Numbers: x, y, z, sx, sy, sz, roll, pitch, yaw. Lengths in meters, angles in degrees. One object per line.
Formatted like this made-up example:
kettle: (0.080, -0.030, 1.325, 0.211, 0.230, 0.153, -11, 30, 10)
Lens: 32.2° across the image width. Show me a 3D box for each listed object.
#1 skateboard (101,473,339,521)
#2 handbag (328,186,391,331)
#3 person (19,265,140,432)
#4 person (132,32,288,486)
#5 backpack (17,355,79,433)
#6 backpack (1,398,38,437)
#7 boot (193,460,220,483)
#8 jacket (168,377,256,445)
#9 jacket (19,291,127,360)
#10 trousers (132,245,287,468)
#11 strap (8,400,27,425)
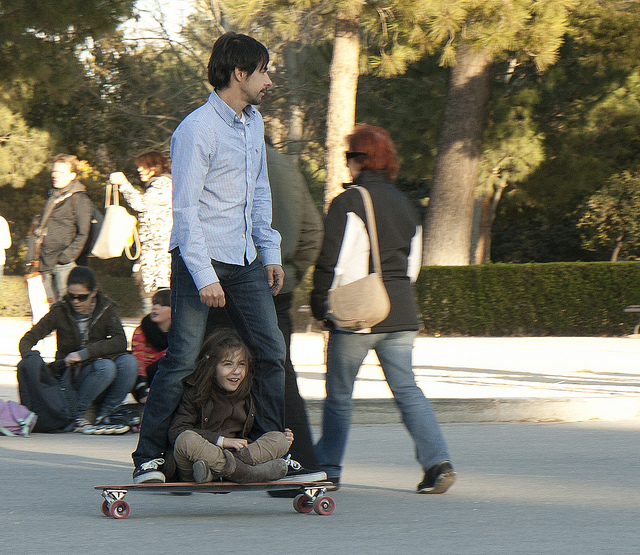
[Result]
skateboard: (-0.543, 1.162, 6.046, 1.243, 0.188, 0.462, -1, -6, -8)
handbag: (0.223, -0.122, 6.539, 0.310, 0.830, 0.182, -2, 4, -28)
person: (-1.960, 0.570, 9.067, 1.060, 1.214, 0.864, 1, 1, 11)
person: (-0.584, -0.113, 6.067, 0.875, 2.444, 0.470, -1, 4, -20)
backpack: (-2.170, 0.948, 8.904, 0.472, 0.713, 0.649, -6, -3, 8)
backpack: (-2.389, 1.118, 8.772, 0.306, 0.257, 0.109, 6, -8, -3)
boot: (-0.606, 1.019, 5.892, 0.119, 0.054, 0.155, 18, 19, -13)
jacket: (-0.619, 0.735, 6.109, 0.373, 0.309, 0.205, 12, -14, -35)
jacket: (-1.994, 0.407, 9.096, 0.906, 0.567, 0.494, -2, 16, 2)
trousers: (-0.569, 0.429, 6.146, 0.875, 1.206, 0.256, -1, 4, -27)
strap: (-2.384, 1.081, 8.846, 0.044, 0.163, 0.135, -39, -12, 24)
